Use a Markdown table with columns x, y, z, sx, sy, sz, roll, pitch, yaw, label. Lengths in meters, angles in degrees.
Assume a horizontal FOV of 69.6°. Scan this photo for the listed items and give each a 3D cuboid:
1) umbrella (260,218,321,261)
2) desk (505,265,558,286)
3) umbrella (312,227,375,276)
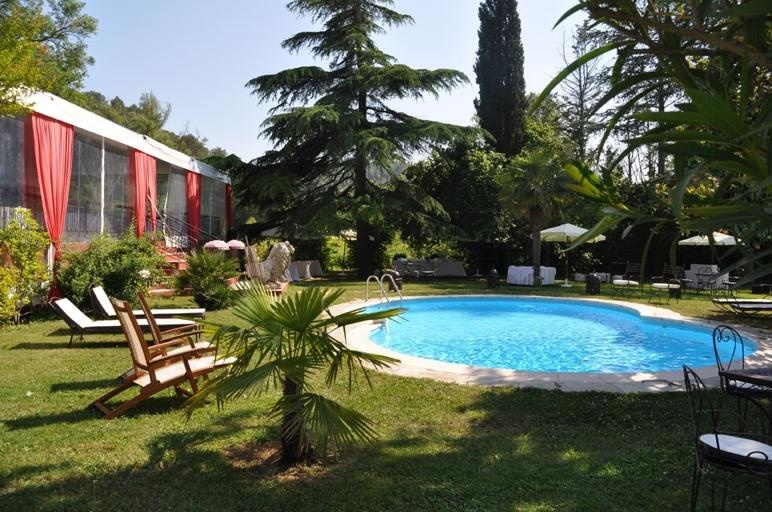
| x | y | z | sx | sy | sz | roll | pitch | yaw | label |
| --- | --- | --- | --- | --- | --- | --- | --- | --- | --- |
| -4.415 | -0.689 | 25.996 | 2.150 | 1.053 | 2.093 | -1 | 3 | 0 | umbrella |
| 6.179 | 0.924 | 24.333 | 1.134 | 0.611 | 1.168 | 1 | 5 | 0 | desk |
| -2.545 | -0.149 | 30.096 | 2.914 | 2.078 | 2.861 | 1 | 9 | -1 | umbrella |
